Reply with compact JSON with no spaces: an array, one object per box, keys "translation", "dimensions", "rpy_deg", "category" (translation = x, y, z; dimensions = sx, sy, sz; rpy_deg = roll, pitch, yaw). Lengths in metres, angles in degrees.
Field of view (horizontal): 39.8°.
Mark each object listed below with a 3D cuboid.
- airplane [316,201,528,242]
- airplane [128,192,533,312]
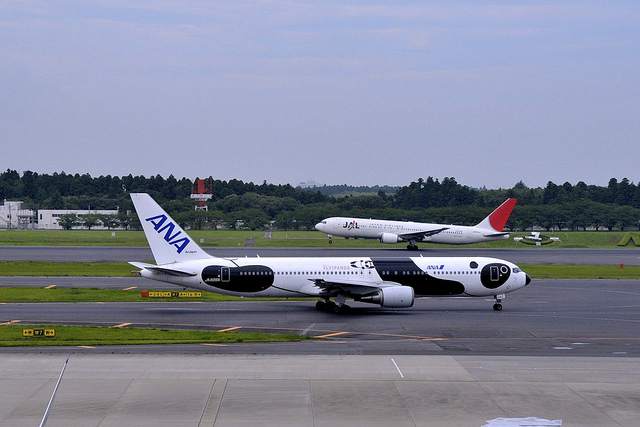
[{"translation":[15.375,1.755,148.558],"dimensions":[32.770,5.084,22.829],"rpy_deg":[2,6,1],"category":"airplane"},{"translation":[-0.101,3.954,90.541],"dimensions":[37.227,11.727,4.198],"rpy_deg":[0,4,-1],"category":"airplane"}]
